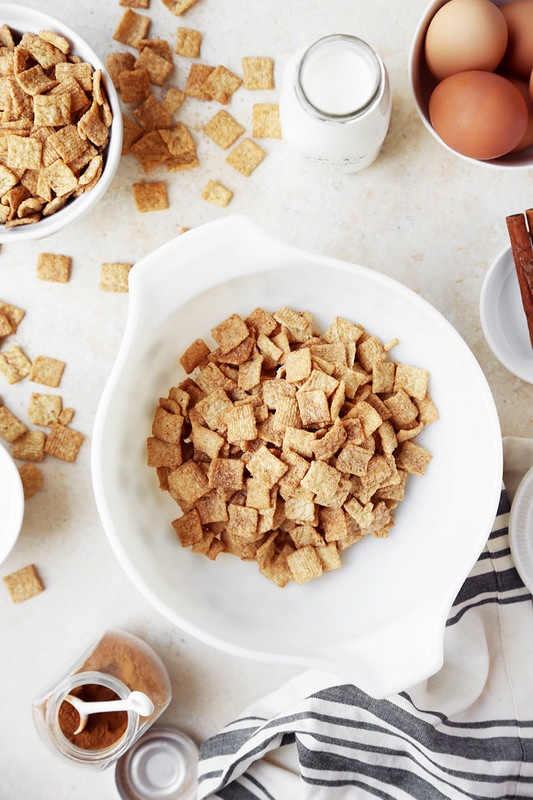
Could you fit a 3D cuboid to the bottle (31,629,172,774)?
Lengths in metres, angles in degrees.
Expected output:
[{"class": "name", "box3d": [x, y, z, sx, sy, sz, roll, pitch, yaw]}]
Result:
[{"class": "bottle", "box3d": [-0.210, 0.434, 1.070, 0.177, 0.110, 0.102, -20, 31, 20]}]

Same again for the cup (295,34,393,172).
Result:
[{"class": "cup", "box3d": [0.087, -0.363, 0.931, 0.106, 0.146, 0.104, -1, 76, 2]}]
